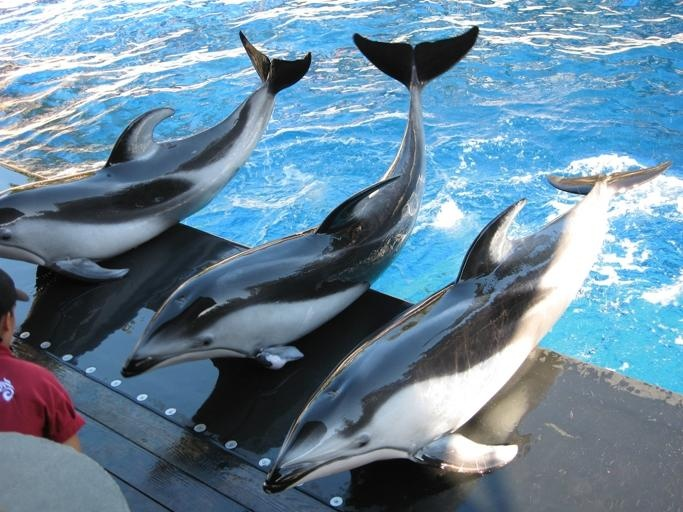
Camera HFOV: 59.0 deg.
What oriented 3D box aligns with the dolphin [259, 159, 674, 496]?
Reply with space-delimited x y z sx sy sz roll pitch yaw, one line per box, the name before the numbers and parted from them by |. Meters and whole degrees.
dolphin | 0.934 0.249 4.158 1.345 1.357 4.135 36 49 28
